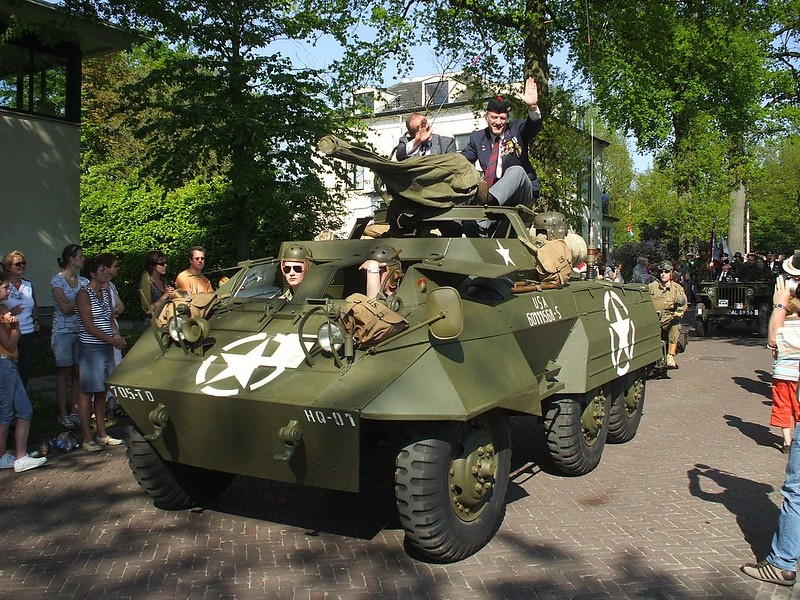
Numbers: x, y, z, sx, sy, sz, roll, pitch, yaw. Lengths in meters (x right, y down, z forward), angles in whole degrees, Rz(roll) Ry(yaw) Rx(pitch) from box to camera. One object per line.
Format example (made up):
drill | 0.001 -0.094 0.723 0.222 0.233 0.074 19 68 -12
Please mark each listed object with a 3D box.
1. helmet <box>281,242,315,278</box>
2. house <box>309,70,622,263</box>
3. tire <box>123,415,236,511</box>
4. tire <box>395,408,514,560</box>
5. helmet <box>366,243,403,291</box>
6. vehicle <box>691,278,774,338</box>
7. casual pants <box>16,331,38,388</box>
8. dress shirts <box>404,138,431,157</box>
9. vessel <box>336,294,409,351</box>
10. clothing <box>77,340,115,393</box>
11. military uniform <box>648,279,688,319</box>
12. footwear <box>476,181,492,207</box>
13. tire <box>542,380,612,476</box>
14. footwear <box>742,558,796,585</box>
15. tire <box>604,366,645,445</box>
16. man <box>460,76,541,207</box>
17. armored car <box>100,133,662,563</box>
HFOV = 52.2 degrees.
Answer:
helmet | -1.122 -0.459 8.791 0.258 0.333 0.343 -2 -2 12
house | 1.955 -3.143 25.514 6.745 4.645 5.988 -4 15 2
tire | -2.178 1.605 8.079 0.315 1.009 0.937 0 8 36
tire | 0.460 1.662 7.417 0.466 1.433 1.154 -4 6 45
helmet | -0.123 -0.309 8.004 0.329 0.444 0.420 1 7 18
vehicle | 9.288 0.202 22.370 1.145 1.262 2.040 -3 -8 35
casual pants | -5.036 0.764 11.062 0.177 0.752 0.216 0 -17 -35
dress shirts | 0.213 -1.835 9.939 0.226 0.123 0.324 1 3 9
vessel | -0.248 0.200 7.468 0.635 0.479 0.239 0 11 1
clothing | -3.731 0.804 9.980 0.517 0.806 0.430 2 -12 -15
military uniform | 5.093 -0.027 15.558 0.773 0.872 0.438 -1 -9 11
footwear | 0.949 -1.245 9.510 0.243 0.271 0.063 -8 6 -13
tire | 2.017 1.458 9.363 0.385 1.258 1.049 -1 -3 41
footwear | 3.256 2.376 7.247 0.477 0.222 0.183 1 -7 35
tire | 3.048 1.393 10.893 0.201 0.859 0.829 -7 32 32
man | 1.232 -1.874 10.372 1.279 1.590 1.161 0 0 -41
armored car | 0.324 0.693 9.414 3.303 3.494 5.807 -2 -3 35
